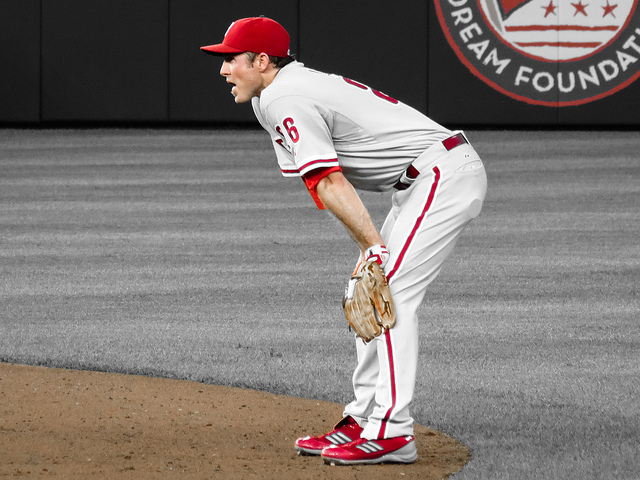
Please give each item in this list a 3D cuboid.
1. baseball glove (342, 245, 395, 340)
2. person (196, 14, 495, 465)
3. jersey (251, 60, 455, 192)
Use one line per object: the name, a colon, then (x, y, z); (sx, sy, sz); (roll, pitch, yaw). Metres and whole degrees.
baseball glove: (0.301, 0.275, 7.022); (0.292, 0.467, 0.111); (-19, -13, 27)
person: (0.187, 0.028, 7.043); (1.343, 2.295, 0.403); (7, 5, 6)
jersey: (0.135, -0.591, 7.262); (1.151, 0.523, 1.104); (24, 16, 39)
